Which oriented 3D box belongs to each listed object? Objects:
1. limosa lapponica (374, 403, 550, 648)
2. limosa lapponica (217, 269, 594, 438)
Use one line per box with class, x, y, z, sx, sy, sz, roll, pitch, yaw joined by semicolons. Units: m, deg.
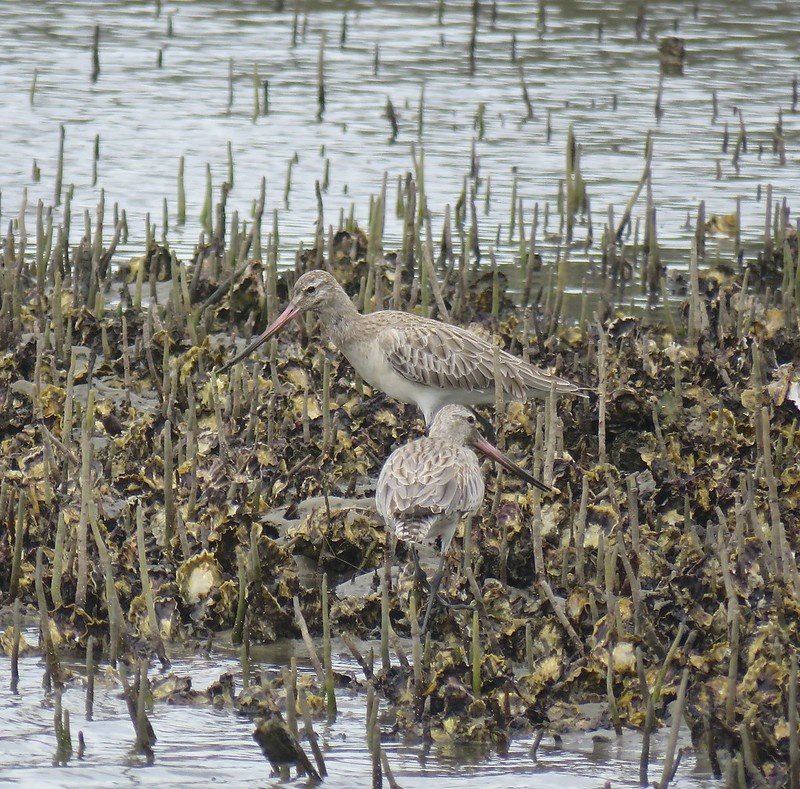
limosa lapponica;0.163;0.412;5.543;0.360;0.755;1.073;-8;-12;21
limosa lapponica;0.162;-0.189;7.137;1.590;1.078;0.542;-10;7;-15
